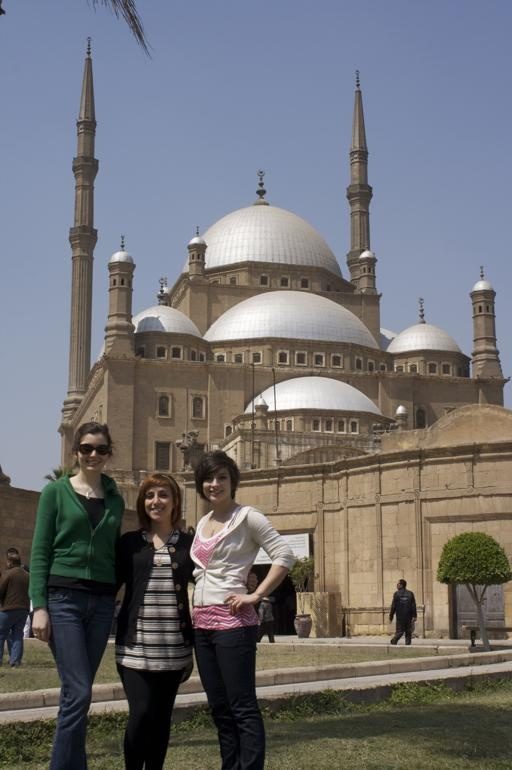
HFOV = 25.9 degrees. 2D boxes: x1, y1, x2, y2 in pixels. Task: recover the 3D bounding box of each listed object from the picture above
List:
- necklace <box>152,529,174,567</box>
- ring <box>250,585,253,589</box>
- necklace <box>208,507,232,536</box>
[{"bbox_3d":[-0.478,0.842,5.674,0.124,0.130,0.170,1,-11,-4],"label":"necklace"},{"bbox_3d":[-0.028,1.037,5.683,0.006,0.005,0.025,-44,3,15],"label":"ring"},{"bbox_3d":[-0.194,0.710,5.803,0.098,0.160,0.119,15,-6,8],"label":"necklace"}]
